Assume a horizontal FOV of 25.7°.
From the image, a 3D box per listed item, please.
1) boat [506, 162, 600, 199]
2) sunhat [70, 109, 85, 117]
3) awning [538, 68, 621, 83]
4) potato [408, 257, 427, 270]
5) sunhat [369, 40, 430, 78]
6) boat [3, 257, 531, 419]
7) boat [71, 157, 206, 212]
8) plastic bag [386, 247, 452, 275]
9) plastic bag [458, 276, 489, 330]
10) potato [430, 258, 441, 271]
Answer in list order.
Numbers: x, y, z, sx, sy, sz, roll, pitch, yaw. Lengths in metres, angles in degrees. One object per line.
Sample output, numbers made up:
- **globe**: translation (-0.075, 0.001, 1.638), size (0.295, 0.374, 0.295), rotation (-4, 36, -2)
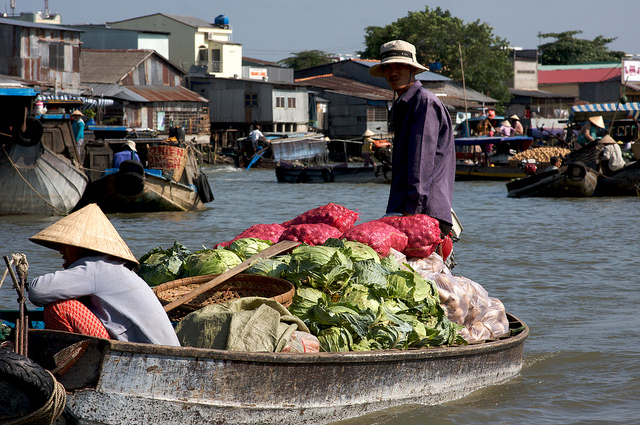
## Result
- **boat**: translation (7.818, -1.016, 46.958), size (2.520, 1.253, 4.247), rotation (-11, 1, -13)
- **sunhat**: translation (-7.638, -3.126, 43.792), size (0.425, 0.140, 0.407), rotation (1, -3, -3)
- **awning**: translation (16.293, -8.670, 88.867), size (2.393, 0.924, 6.493), rotation (-2, 5, -32)
- **potato**: translation (2.188, 1.121, 31.151), size (0.309, 0.285, 0.090), rotation (-5, -10, -13)
- **sunhat**: translation (1.751, -3.457, 31.465), size (1.199, 0.794, 0.530), rotation (1, 5, 2)
- **boat**: translation (-1.391, 2.773, 30.213), size (8.314, 2.967, 3.789), rotation (0, 4, -8)
- **boat**: translation (-6.784, -1.013, 43.087), size (2.646, 1.911, 6.285), rotation (3, -2, -3)
- **plastic bag**: translation (2.238, 1.059, 31.098), size (1.390, 0.593, 0.415), rotation (-1, 5, -24)
- **plastic bag**: translation (3.449, 1.983, 31.457), size (0.686, 1.106, 0.563), rotation (3, -1, -19)
- **potato**: translation (2.606, 1.136, 31.219), size (0.092, 0.232, 0.173), rotation (-41, -5, 2)
